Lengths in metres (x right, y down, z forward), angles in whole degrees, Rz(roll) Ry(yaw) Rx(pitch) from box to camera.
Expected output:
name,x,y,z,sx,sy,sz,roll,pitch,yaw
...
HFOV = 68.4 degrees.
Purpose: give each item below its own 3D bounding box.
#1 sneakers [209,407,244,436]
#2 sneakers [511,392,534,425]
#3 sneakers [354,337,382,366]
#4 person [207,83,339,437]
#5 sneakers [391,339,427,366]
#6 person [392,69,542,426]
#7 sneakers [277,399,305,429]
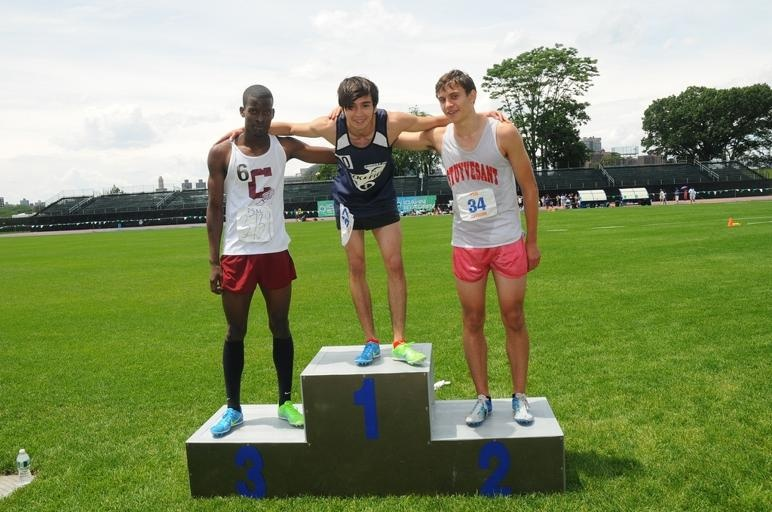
name,x,y,z,sx,sy,sz,roll,pitch,yaw
sneakers,-1.598,1.647,5.700,0.125,0.173,0.379,-2,3,20
sneakers,1.344,1.485,5.569,0.174,0.210,0.272,-6,16,-11
sneakers,-0.182,0.990,5.826,0.254,0.172,0.514,-2,16,2
person,-1.302,0.090,5.816,1.090,3.528,1.162,-5,14,-8
sneakers,0.230,0.967,5.718,0.261,0.134,0.492,-9,17,-19
person,0.959,-0.150,5.702,1.115,3.312,1.074,1,15,15
sneakers,-0.973,1.589,5.785,0.240,0.176,0.358,-7,17,-13
